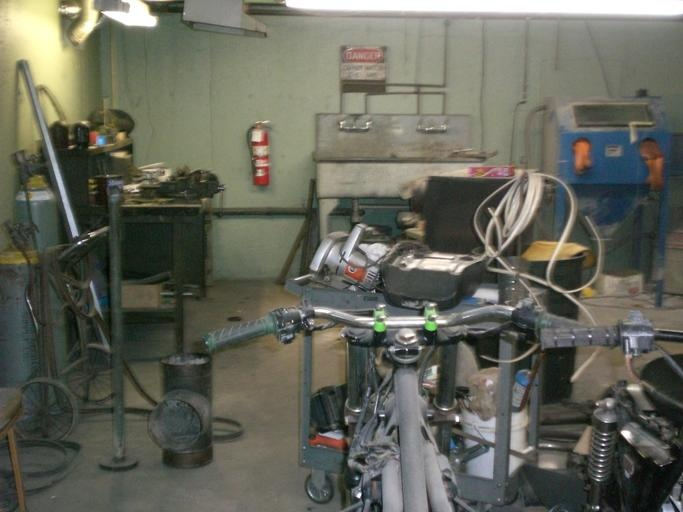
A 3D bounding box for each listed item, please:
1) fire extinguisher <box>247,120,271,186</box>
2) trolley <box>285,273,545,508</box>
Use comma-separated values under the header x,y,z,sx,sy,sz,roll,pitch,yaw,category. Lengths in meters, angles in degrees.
x,y,z,sx,sy,sz,roll,pitch,yaw,category
-0.780,-0.963,7.792,0.235,0.638,0.162,-3,13,-7,fire extinguisher
0.338,0.608,4.199,1.519,1.380,1.104,2,2,17,trolley
